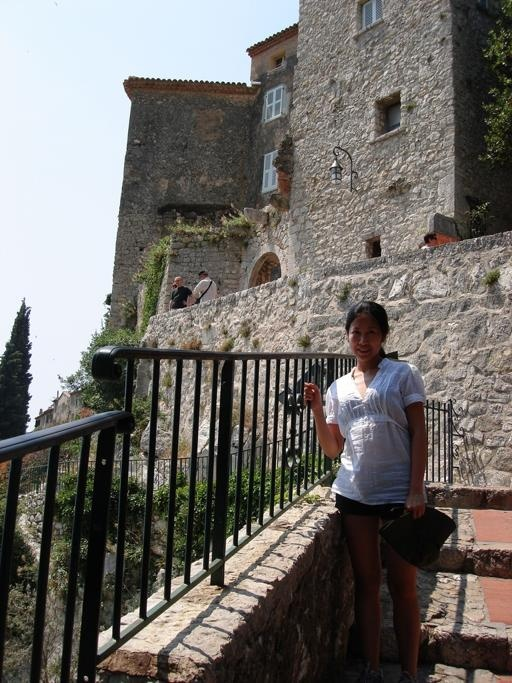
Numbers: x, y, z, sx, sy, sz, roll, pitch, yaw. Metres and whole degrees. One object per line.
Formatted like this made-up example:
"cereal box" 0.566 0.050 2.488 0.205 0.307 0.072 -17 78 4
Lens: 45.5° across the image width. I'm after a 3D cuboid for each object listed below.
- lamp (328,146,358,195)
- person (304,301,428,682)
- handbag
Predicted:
"lamp" 1.956 -3.916 13.965 0.638 1.095 0.342 2 -1 -17
"person" 0.455 0.534 2.356 0.465 1.430 0.348 -9 -11 26
"handbag" 0.545 0.680 2.165 0.228 0.230 0.061 -34 1 -29
